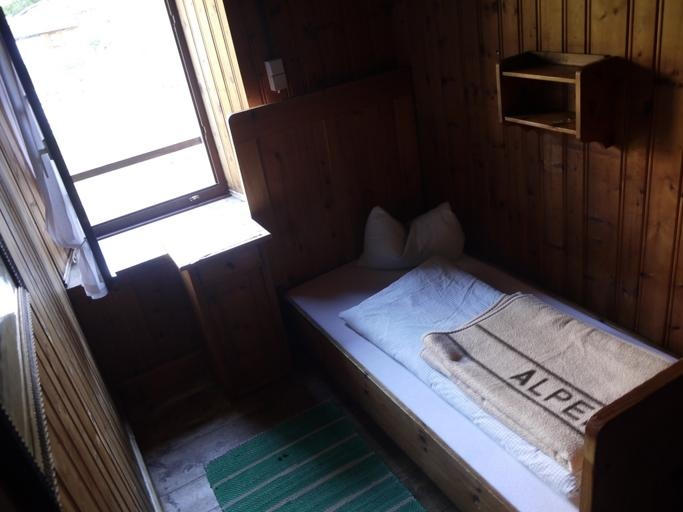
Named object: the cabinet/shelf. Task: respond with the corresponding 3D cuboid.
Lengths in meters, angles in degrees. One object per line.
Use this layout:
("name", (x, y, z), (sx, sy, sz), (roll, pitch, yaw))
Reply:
("cabinet/shelf", (0.994, -0.738, 2.347), (0.211, 0.328, 0.392), (-21, 31, -23))

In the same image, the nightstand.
("nightstand", (-0.689, 0.238, 3.077), (0.538, 0.913, 0.565), (-19, 30, -20))

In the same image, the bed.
("bed", (0.509, 0.137, 2.496), (0.902, 1.213, 1.818), (-28, 51, -17))
